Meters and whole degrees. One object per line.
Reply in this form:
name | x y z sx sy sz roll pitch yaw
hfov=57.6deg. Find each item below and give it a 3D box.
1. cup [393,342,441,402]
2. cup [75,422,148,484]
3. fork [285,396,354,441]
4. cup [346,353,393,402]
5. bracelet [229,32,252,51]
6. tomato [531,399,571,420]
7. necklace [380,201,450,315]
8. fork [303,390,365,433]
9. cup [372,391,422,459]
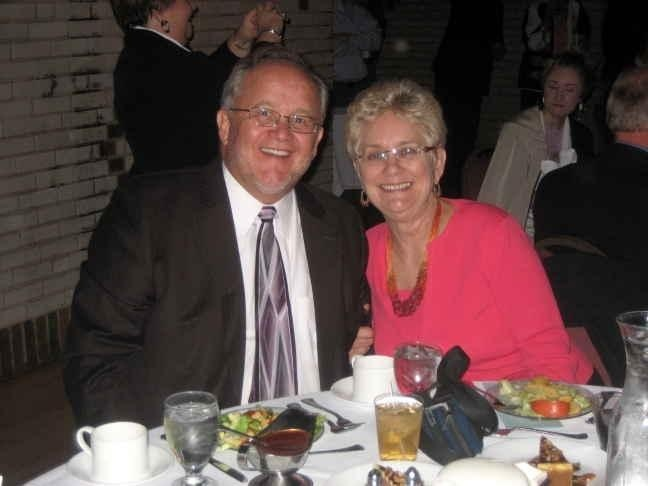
cup | 0.288 0.386 1.810 0.143 0.167 0.143 7 1 0
cup | -0.517 0.519 1.477 0.103 0.108 0.162 1 -3 -32
fork | 0.020 0.506 1.720 0.067 0.035 0.207 -7 7 -27
cup | 0.152 0.416 1.829 0.119 0.108 0.122 -2 2 0
bracelet | -0.514 -1.241 3.618 0.095 0.067 0.125 -3 17 -20
tomato | 0.646 0.473 1.670 0.064 0.030 0.061 5 -6 -4
necklace | 0.365 0.070 2.511 0.264 0.476 0.098 -4 -2 36
fork | 0.026 0.488 1.702 0.056 0.049 0.315 -5 8 -16
cup | 0.191 0.477 1.567 0.135 0.155 0.136 1 -4 0
